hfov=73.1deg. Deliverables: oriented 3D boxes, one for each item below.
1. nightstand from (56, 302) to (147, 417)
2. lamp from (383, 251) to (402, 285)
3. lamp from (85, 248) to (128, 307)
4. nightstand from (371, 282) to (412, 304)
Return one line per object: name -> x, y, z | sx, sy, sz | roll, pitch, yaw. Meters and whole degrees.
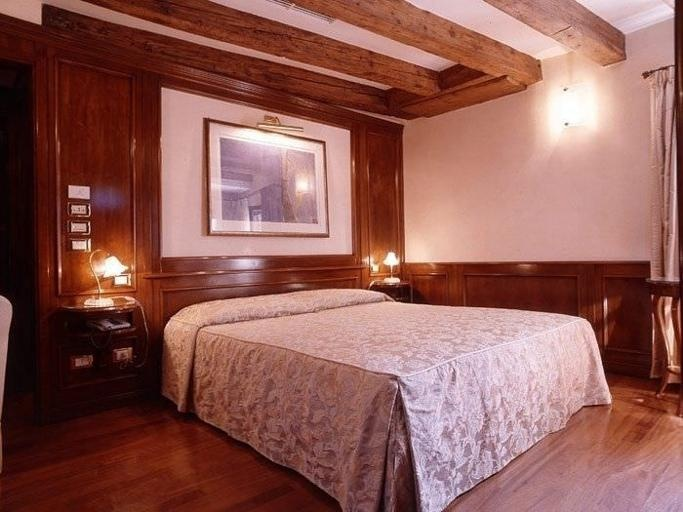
nightstand -> -2.042, 0.846, 3.966 | 0.744, 0.920, 0.372 | -6, 10, -25
lamp -> 0.664, 0.138, 6.064 | 0.210, 0.360, 0.630 | 0, 9, 7
lamp -> -2.011, 0.179, 3.928 | 0.351, 0.440, 0.383 | -6, 10, -25
nightstand -> 0.659, 0.452, 5.988 | 0.348, 0.419, 0.368 | -3, -5, 36
